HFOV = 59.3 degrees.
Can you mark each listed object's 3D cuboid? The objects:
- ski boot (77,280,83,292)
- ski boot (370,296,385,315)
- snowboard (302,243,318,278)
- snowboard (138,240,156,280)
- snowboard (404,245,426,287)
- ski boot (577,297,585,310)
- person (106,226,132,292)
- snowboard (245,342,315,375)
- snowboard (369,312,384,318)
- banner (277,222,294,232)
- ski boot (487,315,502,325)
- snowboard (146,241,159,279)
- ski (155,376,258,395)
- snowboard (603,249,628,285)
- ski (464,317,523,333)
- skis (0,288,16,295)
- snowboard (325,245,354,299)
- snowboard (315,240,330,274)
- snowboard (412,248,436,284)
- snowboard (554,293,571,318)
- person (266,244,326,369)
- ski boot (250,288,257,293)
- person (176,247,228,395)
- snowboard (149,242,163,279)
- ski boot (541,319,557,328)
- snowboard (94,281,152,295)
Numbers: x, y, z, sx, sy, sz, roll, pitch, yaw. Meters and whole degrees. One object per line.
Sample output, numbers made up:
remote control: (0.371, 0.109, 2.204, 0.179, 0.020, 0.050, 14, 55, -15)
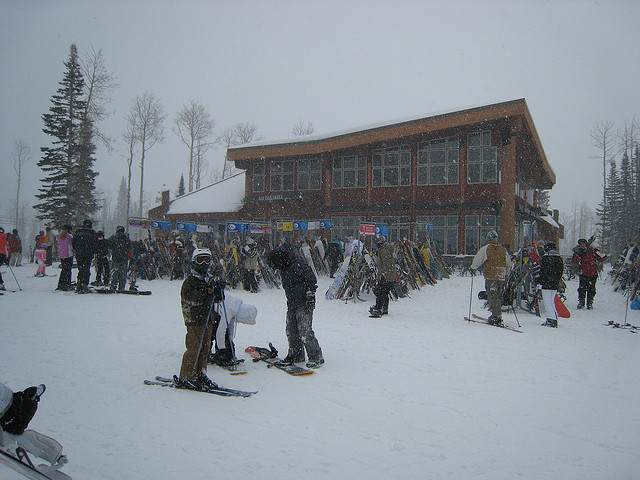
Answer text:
ski boot: (-6.528, 1.273, 15.308, 0.129, 0.289, 0.092, -5, 13, -25)
ski boot: (1.428, 1.639, 14.034, 0.342, 0.478, 0.242, 5, 13, 17)
snowboard: (-0.388, 1.023, 21.031, 0.270, 1.820, 0.451, 0, 18, 38)
snowboard: (-6.325, 0.774, 20.559, 0.163, 1.409, 0.191, -18, -1, -29)
snowboard: (3.363, 0.982, 20.052, 0.234, 1.503, 0.252, -33, -30, 21)
ski boot: (7.167, 1.729, 15.432, 0.159, 0.291, 0.337, 8, 14, 29)
person: (-5.740, 0.458, 15.953, 0.692, 2.055, 0.601, -5, 28, -32)
snowboard: (-0.775, 2.096, 10.073, 1.602, 0.284, 0.514, 11, 16, 33)
snowboard: (1.400, 1.871, 13.970, 0.331, 0.108, 0.299, 2, 13, 3)
banner: (-1.485, -0.571, 24.026, 0.982, 0.192, 1.856, 6, 1, -3)
ski boot: (4.009, 1.826, 12.796, 0.343, 0.279, 0.120, 0, -8, 36)
snowboard: (-6.180, 0.782, 20.762, 0.116, 1.365, 0.140, -10, 5, 27)
ski: (-1.853, 2.337, 8.999, 1.263, 0.085, 0.149, 5, 8, 16)
snowboard: (15.032, 1.310, 28.610, 0.199, 1.893, 0.196, 26, 8, -10)
ski: (3.921, 1.935, 12.735, 0.129, 0.114, 0.781, 1, 8, -38)
skis: (-8.347, 1.392, 15.041, 0.437, 0.100, 0.049, 2, -7, -36)
snowboard: (0.671, 1.051, 18.538, 0.205, 1.647, 0.115, 19, -8, 42)
snowboard: (0.124, 0.611, 24.145, 0.384, 1.581, 0.262, -13, -11, -29)
snowboard: (3.810, 0.992, 20.758, 0.145, 1.380, 0.149, -33, 2, -25)
snowboard: (5.701, 1.569, 13.259, 0.346, 0.715, 0.602, 7, 14, 24)
person: (-0.361, 1.194, 10.025, 0.592, 2.128, 1.142, -10, 16, -41)
ski boot: (-2.074, 1.598, 17.857, 0.168, 0.147, 0.100, 1, 12, -2)
person: (-1.920, 1.284, 9.045, 0.779, 2.205, 0.978, -1, 12, -10)
snowboard: (-6.106, 0.785, 20.875, 0.112, 1.354, 0.141, -11, 10, 23)
ski boot: (5.229, 1.880, 12.770, 0.313, 0.198, 0.245, 8, 15, 27)
snowboard: (-5.812, 1.414, 16.453, 1.655, 0.460, 0.350, 0, -3, -9)
